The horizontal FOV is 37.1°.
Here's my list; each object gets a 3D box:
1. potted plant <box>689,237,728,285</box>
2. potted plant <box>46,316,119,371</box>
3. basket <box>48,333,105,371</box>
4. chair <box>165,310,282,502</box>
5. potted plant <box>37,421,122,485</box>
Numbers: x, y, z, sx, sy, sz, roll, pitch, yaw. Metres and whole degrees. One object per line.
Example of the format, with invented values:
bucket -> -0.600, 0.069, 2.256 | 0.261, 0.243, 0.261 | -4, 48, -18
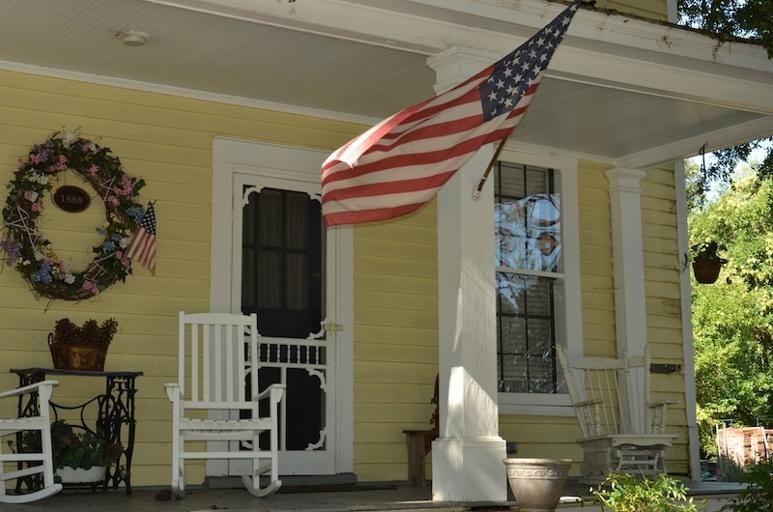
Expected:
potted plant -> 3.645, 0.054, 13.216 | 0.429, 0.507, 0.483 | -7, -15, 38
potted plant -> -2.845, 0.809, 10.777 | 0.525, 0.409, 0.526 | -1, -3, 15
basket -> -2.874, 0.881, 10.676 | 0.381, 0.214, 0.352 | -1, -7, 15
chair -> -1.530, 1.369, 10.744 | 1.020, 1.729, 1.370 | -1, -12, -8
potted plant -> -2.745, 1.887, 10.646 | 0.603, 0.409, 0.518 | 1, -9, 19
